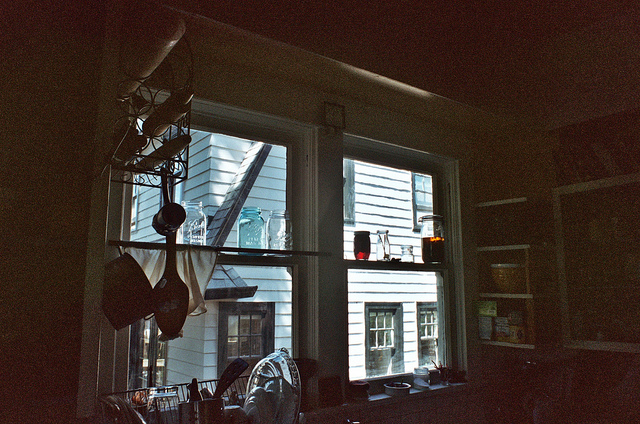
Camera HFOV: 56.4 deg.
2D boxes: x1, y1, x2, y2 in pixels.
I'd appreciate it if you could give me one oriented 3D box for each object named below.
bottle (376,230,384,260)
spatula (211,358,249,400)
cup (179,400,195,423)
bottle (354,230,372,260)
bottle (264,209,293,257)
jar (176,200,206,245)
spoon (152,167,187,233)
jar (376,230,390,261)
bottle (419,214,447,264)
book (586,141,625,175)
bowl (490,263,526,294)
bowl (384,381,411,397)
[{"bbox_3d":[0.142,0.076,1.410,0.018,0.073,0.048,-3,-14,6],"label":"bottle"},{"bbox_3d":[-0.205,0.382,1.368,0.081,0.088,0.028,1,-14,-8],"label":"spatula"},{"bbox_3d":[-0.300,0.449,1.342,0.034,0.051,0.026,2,-14,-12],"label":"cup"},{"bbox_3d":[0.104,0.075,1.397,0.050,0.073,0.047,-1,-14,0],"label":"bottle"},{"bbox_3d":[-0.104,0.048,1.449,0.044,0.106,0.135,3,-14,-18],"label":"bottle"},{"bbox_3d":[-0.307,0.029,1.424,0.067,0.096,0.110,2,-14,-14],"label":"jar"},{"bbox_3d":[-0.352,-0.025,1.382,0.070,0.145,0.047,-2,-16,-33],"label":"spoon"},{"bbox_3d":[0.149,0.077,1.413,0.033,0.079,0.054,-3,-14,6],"label":"jar"},{"bbox_3d":[0.270,0.063,1.435,0.069,0.115,0.031,9,-17,-36],"label":"bottle"},{"bbox_3d":[0.784,-0.151,1.643,0.099,0.087,0.033,5,-15,-25],"label":"book"},{"bbox_3d":[0.471,0.168,1.511,0.084,0.068,0.087,1,-15,0],"label":"bowl"},{"bbox_3d":[0.177,0.409,1.375,0.042,0.015,0.040,4,-9,1],"label":"bowl"}]
